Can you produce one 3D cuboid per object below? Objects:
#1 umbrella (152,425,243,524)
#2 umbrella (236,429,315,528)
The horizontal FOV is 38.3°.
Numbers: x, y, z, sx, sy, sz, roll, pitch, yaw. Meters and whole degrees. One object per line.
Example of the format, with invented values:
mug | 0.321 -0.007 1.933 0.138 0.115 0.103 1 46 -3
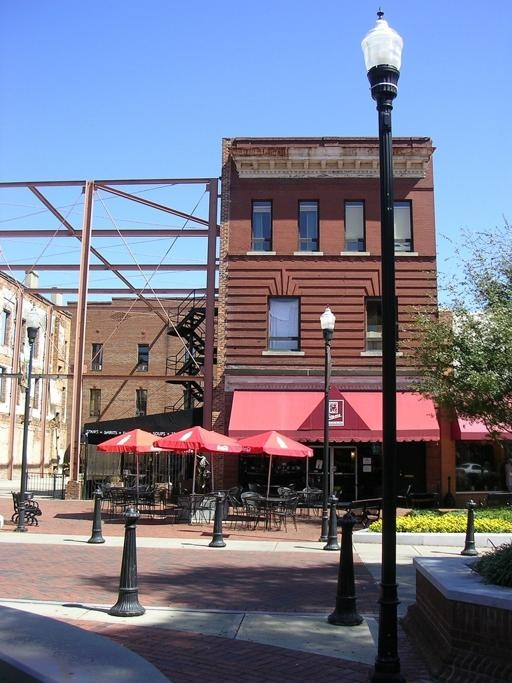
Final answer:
umbrella | -1.542 3.431 19.621 2.043 2.236 4.464 0 -8 -5
umbrella | 0.545 3.887 20.951 2.798 2.787 2.652 -1 -19 19
